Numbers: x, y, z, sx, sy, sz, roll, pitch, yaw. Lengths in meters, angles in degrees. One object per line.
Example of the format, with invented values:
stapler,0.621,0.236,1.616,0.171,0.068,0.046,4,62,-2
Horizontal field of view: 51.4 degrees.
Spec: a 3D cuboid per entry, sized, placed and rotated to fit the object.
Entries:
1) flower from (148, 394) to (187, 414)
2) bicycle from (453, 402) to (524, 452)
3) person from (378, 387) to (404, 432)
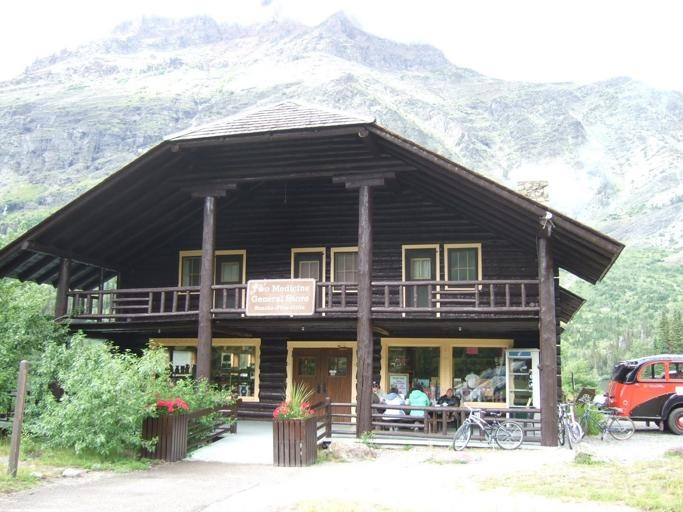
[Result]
flower,-4.501,3.781,18.385,0.573,0.264,0.531,4,0,-28
bicycle,3.992,4.842,19.644,2.011,1.067,0.932,3,-24,7
person,1.556,4.723,21.086,0.689,1.174,2.019,0,5,5
